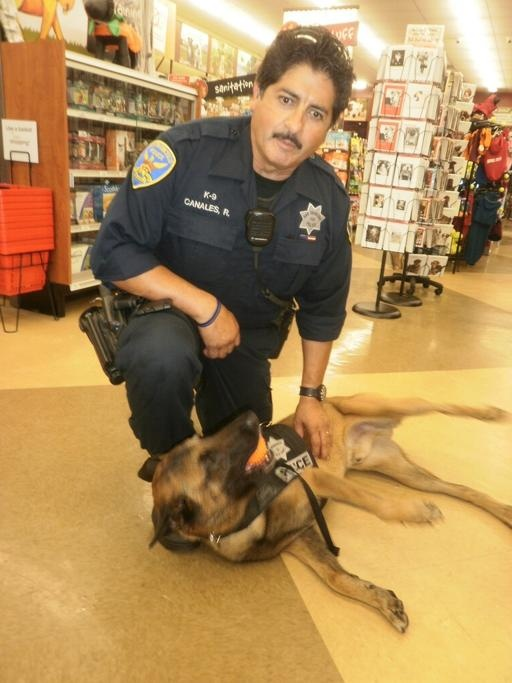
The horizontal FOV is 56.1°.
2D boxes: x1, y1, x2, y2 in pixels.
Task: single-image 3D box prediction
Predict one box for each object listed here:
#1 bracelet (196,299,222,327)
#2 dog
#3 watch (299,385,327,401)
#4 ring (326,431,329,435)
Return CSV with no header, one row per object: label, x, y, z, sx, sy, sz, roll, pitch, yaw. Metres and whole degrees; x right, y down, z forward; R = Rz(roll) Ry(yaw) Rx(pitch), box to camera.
bracelet,-0.123,-0.067,1.333,0.019,0.072,0.074,38,-7,10
dog,0.158,0.381,1.381,0.780,0.354,0.591,-14,23,-38
watch,0.181,0.162,1.577,0.058,0.038,0.060,0,-10,34
ring,0.223,0.288,1.508,0.003,0.010,0.011,2,0,33
